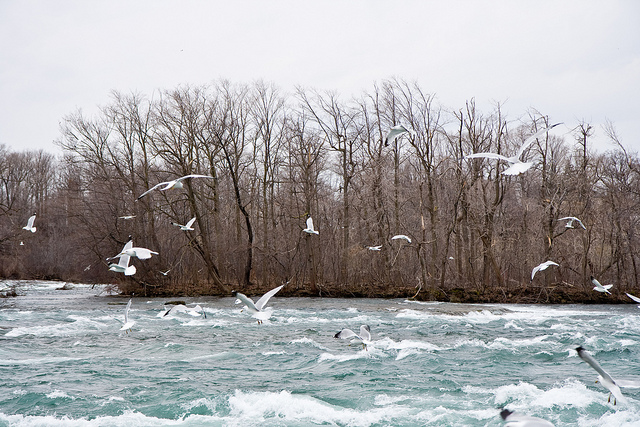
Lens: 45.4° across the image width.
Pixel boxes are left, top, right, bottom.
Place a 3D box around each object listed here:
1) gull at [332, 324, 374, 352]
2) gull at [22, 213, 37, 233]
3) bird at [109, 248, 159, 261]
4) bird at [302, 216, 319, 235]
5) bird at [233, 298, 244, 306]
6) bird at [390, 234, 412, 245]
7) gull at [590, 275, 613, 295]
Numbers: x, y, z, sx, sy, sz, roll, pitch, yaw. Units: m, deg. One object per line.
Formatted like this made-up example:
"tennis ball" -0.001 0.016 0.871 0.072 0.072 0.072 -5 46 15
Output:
"gull" 1.379 5.852 35.528 1.237 0.782 1.807 26 0 45
"gull" -16.143 0.551 42.565 0.763 0.226 1.951 5 -25 -33
"bird" -8.771 1.852 36.320 1.284 0.529 1.543 -2 -5 -23
"bird" -0.603 0.687 41.660 0.940 0.868 1.007 10 6 37
"bird" -5.370 5.682 49.207 0.317 0.395 0.188 -26 -1 29
"bird" 5.327 1.543 49.486 1.188 0.432 1.136 15 -21 -17
"gull" 17.855 4.580 48.756 1.171 0.567 2.084 2 -29 35
